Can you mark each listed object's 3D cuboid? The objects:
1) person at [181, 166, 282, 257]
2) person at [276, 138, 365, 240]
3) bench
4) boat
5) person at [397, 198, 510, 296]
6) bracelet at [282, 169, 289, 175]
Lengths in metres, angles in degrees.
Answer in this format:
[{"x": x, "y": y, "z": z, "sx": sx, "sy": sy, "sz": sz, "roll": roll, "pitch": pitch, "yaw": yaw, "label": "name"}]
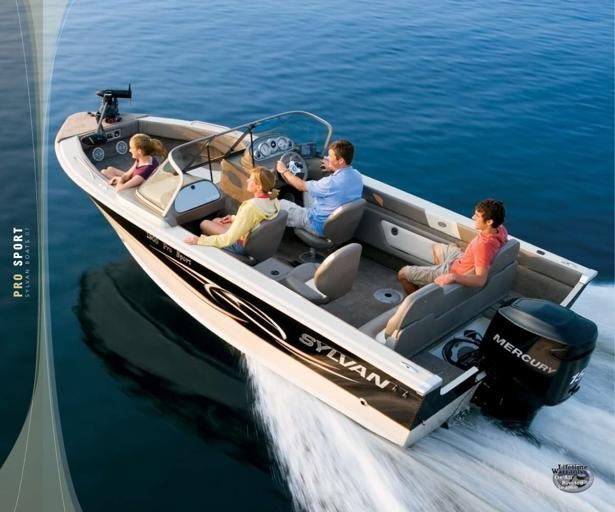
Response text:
[{"x": -0.668, "y": -0.367, "z": 4.407, "sx": 0.703, "sy": 0.767, "sz": 0.406, "roll": 21, "pitch": 57, "yaw": -5, "label": "person"}, {"x": 0.107, "y": -0.632, "z": 4.919, "sx": 0.590, "sy": 1.014, "sz": 0.944, "roll": -34, "pitch": 57, "yaw": -27, "label": "person"}, {"x": 1.074, "y": 0.351, "z": 4.003, "sx": 1.153, "sy": 0.383, "sz": 0.439, "roll": -23, "pitch": 45, "yaw": -22, "label": "bench"}, {"x": -0.344, "y": -0.269, "z": 4.782, "sx": 5.351, "sy": 1.401, "sz": 2.017, "roll": 26, "pitch": 44, "yaw": 27, "label": "boat"}, {"x": 1.202, "y": -0.053, "z": 4.288, "sx": 0.652, "sy": 0.769, "sz": 0.590, "roll": 30, "pitch": 60, "yaw": 22, "label": "person"}, {"x": -0.221, "y": -0.784, "z": 4.753, "sx": 0.019, "sy": 0.054, "sz": 0.060, "roll": 37, "pitch": 32, "yaw": 12, "label": "bracelet"}]
